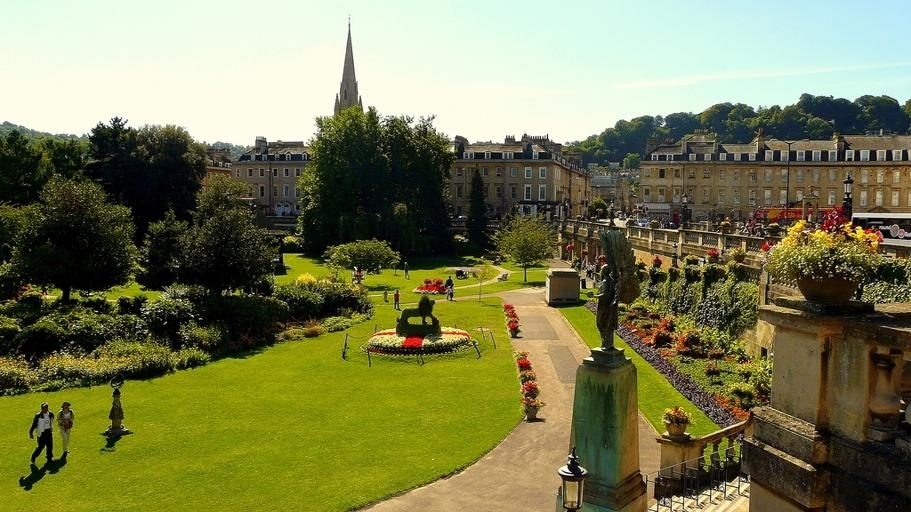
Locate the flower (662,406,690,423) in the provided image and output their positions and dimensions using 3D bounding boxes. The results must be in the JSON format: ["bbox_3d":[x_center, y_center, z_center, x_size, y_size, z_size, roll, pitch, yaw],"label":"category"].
[{"bbox_3d":[9.629,6.877,33.509,0.873,0.542,0.822,2,1,6],"label":"flower"}]

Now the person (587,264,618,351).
[{"bbox_3d":[6.172,1.982,31.069,0.873,3.312,1.515,-2,8,11],"label":"person"}]
